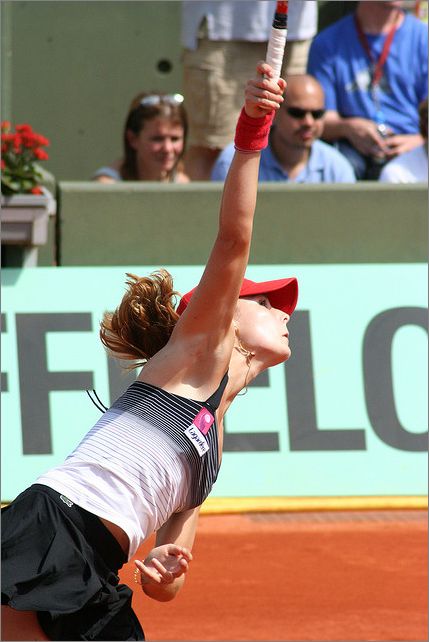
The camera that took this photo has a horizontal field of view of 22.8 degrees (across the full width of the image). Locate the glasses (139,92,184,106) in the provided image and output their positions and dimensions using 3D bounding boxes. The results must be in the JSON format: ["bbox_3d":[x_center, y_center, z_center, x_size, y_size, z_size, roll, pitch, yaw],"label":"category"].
[{"bbox_3d":[-0.253,-1.104,5.225,0.161,0.036,0.091,0,-1,-15],"label":"glasses"}]

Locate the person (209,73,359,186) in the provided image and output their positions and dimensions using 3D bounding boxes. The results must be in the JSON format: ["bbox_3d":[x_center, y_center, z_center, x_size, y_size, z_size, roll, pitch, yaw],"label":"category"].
[{"bbox_3d":[0.403,-1.004,5.623,0.966,0.611,0.406,-2,26,-22],"label":"person"}]

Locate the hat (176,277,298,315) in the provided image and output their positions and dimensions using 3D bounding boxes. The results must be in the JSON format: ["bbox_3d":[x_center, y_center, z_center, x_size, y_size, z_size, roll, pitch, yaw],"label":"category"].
[{"bbox_3d":[0.103,-0.082,3.371,0.270,0.098,0.166,-18,-2,16],"label":"hat"}]
